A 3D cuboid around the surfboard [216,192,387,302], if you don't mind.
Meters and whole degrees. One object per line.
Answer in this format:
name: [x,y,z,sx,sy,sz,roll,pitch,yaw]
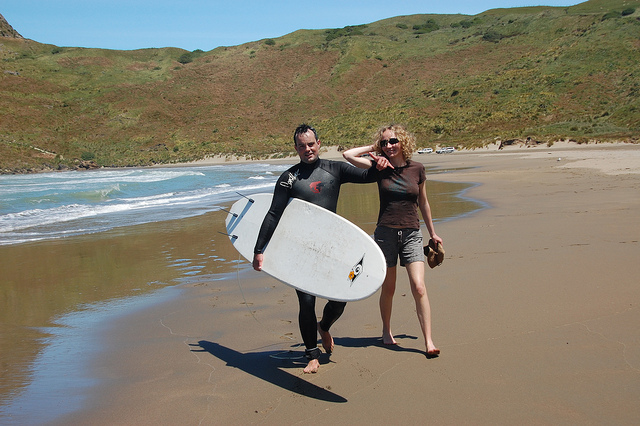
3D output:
surfboard: [-0.126,0.359,5.632,2.729,0.915,0.537,22,2,41]
